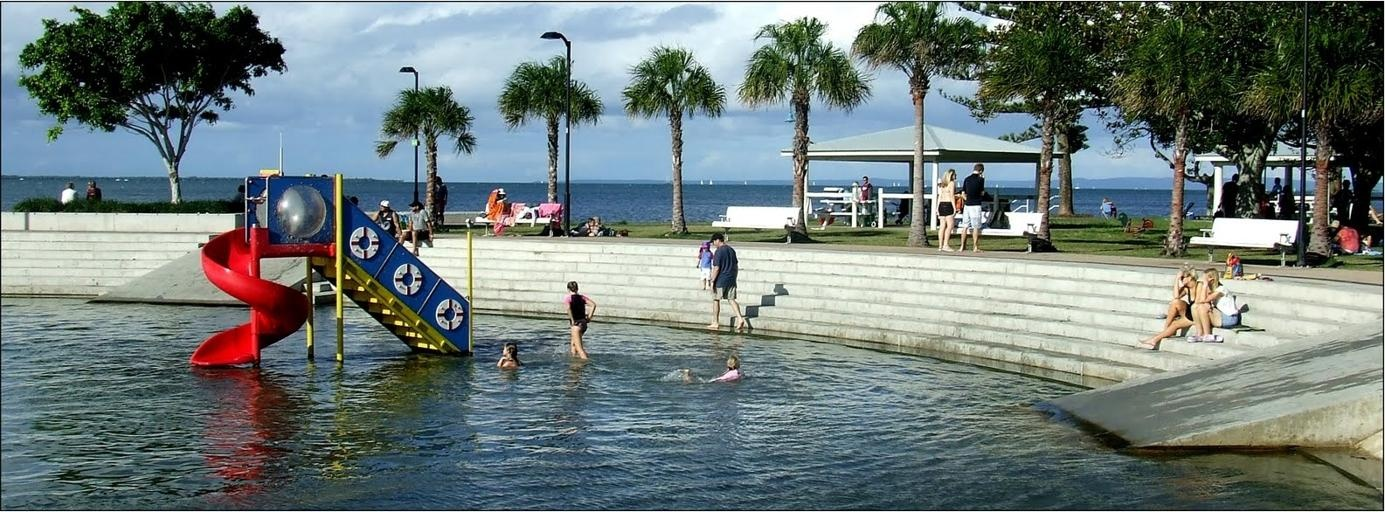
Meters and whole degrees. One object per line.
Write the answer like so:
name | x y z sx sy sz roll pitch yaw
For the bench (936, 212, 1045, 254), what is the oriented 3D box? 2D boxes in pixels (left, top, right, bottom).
bench | 19.823 -0.601 72.567 7.614 2.354 3.414 -1 -1 37

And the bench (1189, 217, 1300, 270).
bench | 32.497 -0.941 66.296 6.828 2.457 1.602 -1 1 8

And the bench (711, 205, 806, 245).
bench | 5.941 -4.718 100.311 9.258 2.090 2.616 1 -8 1

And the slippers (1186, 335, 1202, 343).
slippers | 25.571 4.162 57.695 0.569 0.329 0.239 0 4 21
